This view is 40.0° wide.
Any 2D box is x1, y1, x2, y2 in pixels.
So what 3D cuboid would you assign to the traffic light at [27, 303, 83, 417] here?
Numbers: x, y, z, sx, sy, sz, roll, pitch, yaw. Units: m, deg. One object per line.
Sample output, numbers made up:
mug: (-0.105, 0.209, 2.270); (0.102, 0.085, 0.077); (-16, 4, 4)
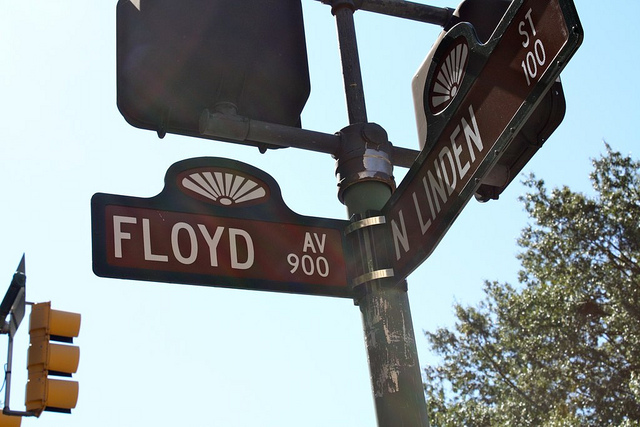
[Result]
traffic light: (-3.968, 2.224, 13.076); (0.772, 1.461, 0.825); (6, -33, -16)
